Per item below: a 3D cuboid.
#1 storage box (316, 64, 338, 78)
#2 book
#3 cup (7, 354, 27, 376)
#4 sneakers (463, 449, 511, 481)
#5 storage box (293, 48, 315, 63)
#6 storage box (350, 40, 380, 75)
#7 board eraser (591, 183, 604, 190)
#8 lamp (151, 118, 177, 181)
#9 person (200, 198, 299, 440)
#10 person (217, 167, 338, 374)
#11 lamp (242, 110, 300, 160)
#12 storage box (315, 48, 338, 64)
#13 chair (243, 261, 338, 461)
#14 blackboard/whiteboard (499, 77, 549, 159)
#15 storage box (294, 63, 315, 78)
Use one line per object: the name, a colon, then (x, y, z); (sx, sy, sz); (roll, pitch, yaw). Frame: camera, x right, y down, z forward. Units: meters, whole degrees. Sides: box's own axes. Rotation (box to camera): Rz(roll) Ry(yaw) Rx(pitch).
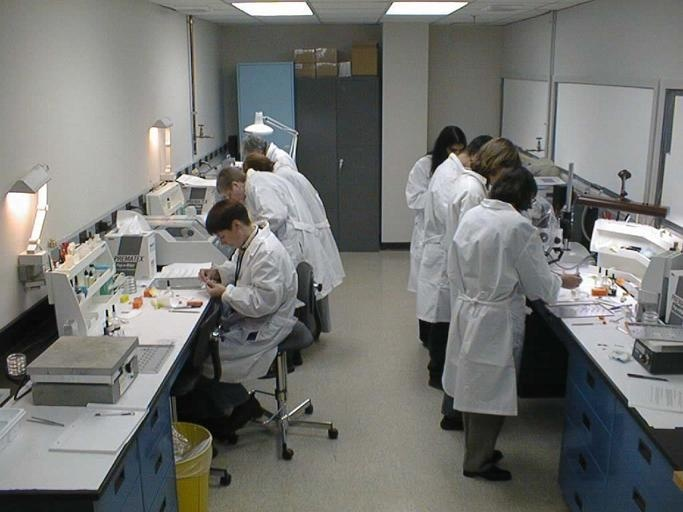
storage box: (-0.173, -2.200, 6.357); (0.159, 0.121, 0.180); (1, 12, -1)
book: (-0.950, 0.677, 2.127); (0.283, 0.054, 0.266); (-2, 17, 5)
cup: (-1.478, 0.499, 2.460); (0.078, 0.099, 0.085); (1, 3, 0)
sneakers: (0.809, 1.239, 3.179); (0.337, 0.178, 0.121); (-2, 14, 1)
storage box: (-0.427, -2.360, 6.370); (0.248, 0.156, 0.084); (-4, 15, -2)
storage box: (0.314, -2.419, 6.454); (0.323, 0.450, 0.421); (4, 26, 14)
board eraser: (2.152, -0.584, 4.553); (0.022, 0.025, 0.089); (-38, 21, 3)
lamp: (-1.545, -0.921, 4.695); (0.174, 0.525, 0.214); (-6, 15, -13)
person: (-0.621, 0.374, 3.287); (0.643, 1.416, 0.603); (0, 11, -25)
person: (-0.372, 0.007, 4.532); (0.753, 1.666, 0.777); (-22, 19, -41)
lamp: (-0.706, -1.100, 5.678); (0.529, 0.755, 0.293); (-5, 10, -17)
storage box: (-0.174, -2.364, 6.381); (0.245, 0.175, 0.153); (-1, 15, 8)
chair: (-0.347, 0.586, 3.439); (0.582, 1.183, 0.658); (3, 5, -8)
blackboard/whiteboard: (2.072, -1.786, 6.136); (0.018, 0.469, 0.726); (-4, 19, -24)
storage box: (-0.415, -2.188, 6.424); (0.162, 0.187, 0.056); (3, 43, -1)
